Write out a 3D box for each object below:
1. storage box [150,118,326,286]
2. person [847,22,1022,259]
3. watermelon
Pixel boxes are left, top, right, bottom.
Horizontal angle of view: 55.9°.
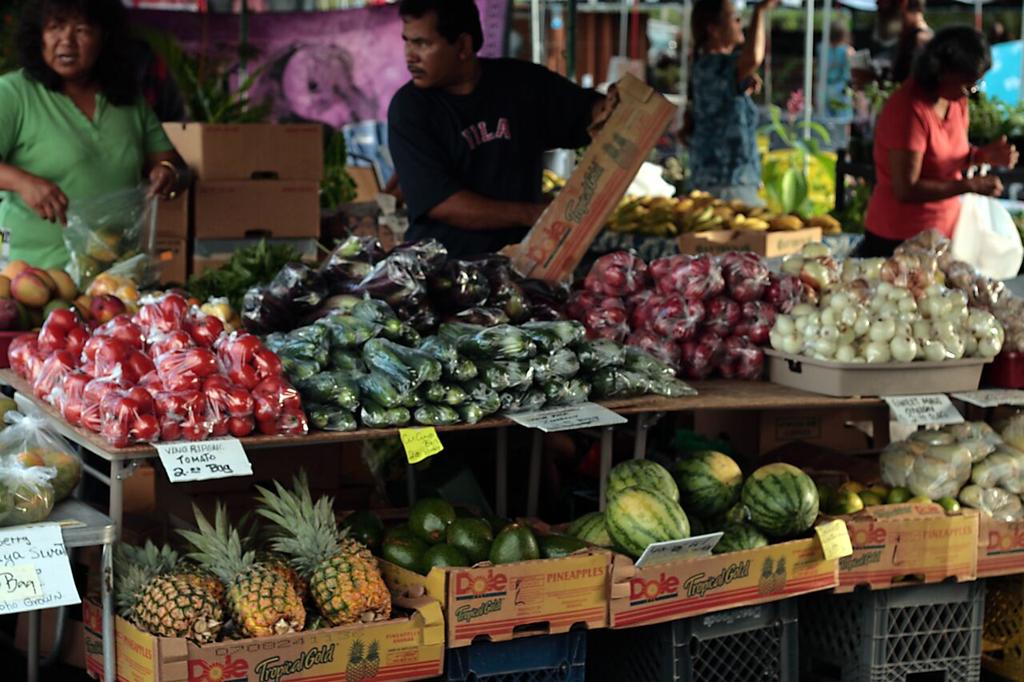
[{"bbox_3d":[-1.753,-0.973,6.234,0.955,1.088,0.797,-12,22,-39],"label":"storage box"},{"bbox_3d":[2.488,-1.200,5.778,0.620,2.147,0.596,-3,6,-34],"label":"person"},{"bbox_3d":[0.758,0.661,3.876,0.571,0.235,0.530,-6,-4,-32],"label":"watermelon"}]
